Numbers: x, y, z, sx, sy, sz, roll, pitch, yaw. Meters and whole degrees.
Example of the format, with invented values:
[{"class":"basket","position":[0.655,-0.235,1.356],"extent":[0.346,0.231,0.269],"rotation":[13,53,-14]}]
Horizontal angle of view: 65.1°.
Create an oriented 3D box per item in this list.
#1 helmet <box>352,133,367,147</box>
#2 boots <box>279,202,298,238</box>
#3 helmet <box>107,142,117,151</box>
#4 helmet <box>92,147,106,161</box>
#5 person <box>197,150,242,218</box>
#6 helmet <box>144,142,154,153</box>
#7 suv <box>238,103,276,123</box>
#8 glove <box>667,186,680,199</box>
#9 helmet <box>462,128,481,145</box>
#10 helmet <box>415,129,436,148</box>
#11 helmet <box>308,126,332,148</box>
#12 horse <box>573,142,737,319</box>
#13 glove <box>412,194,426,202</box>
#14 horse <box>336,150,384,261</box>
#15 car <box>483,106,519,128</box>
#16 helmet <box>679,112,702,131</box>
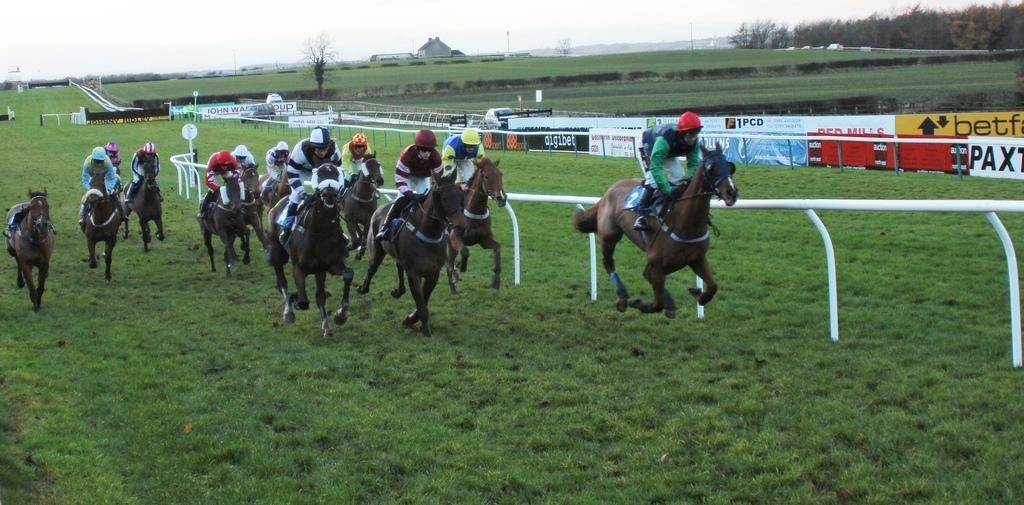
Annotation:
[{"class":"helmet","position":[-2.864,-2.108,15.001],"extent":[0.255,0.115,0.328],"rotation":[1,4,-10]},{"class":"boots","position":[-3.671,-0.523,13.182],"extent":[0.340,0.550,0.186],"rotation":[8,-5,44]},{"class":"helmet","position":[-8.088,-2.127,16.217],"extent":[0.215,0.109,0.313],"rotation":[5,14,-21]},{"class":"helmet","position":[-7.861,-1.875,15.271],"extent":[0.240,0.154,0.327],"rotation":[3,5,-20]},{"class":"person","position":[-5.797,-1.491,15.702],"extent":[1.070,1.743,0.500],"rotation":[-11,-12,43]},{"class":"helmet","position":[-7.256,-2.104,16.058],"extent":[0.194,0.139,0.273],"rotation":[-3,46,-23]},{"class":"suv","position":[-13.450,-7.313,41.927],"extent":[1.437,1.005,2.512],"rotation":[0,5,24]},{"class":"glove","position":[2.429,-0.902,12.135],"extent":[0.181,0.160,0.142],"rotation":[8,5,15]},{"class":"helmet","position":[-0.756,-2.066,14.315],"extent":[0.339,0.253,0.299],"rotation":[-3,13,-4]},{"class":"helmet","position":[-1.403,-1.853,13.072],"extent":[0.286,0.277,0.346],"rotation":[4,3,-12]},{"class":"helmet","position":[-3.165,-1.850,13.149],"extent":[0.285,0.322,0.361],"rotation":[8,-33,-17]},{"class":"horse","position":[2.285,-0.281,12.455],"extent":[0.905,2.720,2.315],"rotation":[-15,18,-39]},{"class":"glove","position":[-1.497,-0.886,12.890],"extent":[0.156,0.064,0.144],"rotation":[-12,21,-11]},{"class":"horse","position":[-2.948,-0.690,15.581],"extent":[0.902,1.820,3.343],"rotation":[3,-9,-18]},{"class":"car","position":[-0.614,-5.681,34.839],"extent":[1.107,0.691,1.555],"rotation":[-2,27,-4]},{"class":"helmet","position":[2.636,-1.991,12.199],"extent":[0.302,0.195,0.348],"rotation":[-6,12,-17]}]
